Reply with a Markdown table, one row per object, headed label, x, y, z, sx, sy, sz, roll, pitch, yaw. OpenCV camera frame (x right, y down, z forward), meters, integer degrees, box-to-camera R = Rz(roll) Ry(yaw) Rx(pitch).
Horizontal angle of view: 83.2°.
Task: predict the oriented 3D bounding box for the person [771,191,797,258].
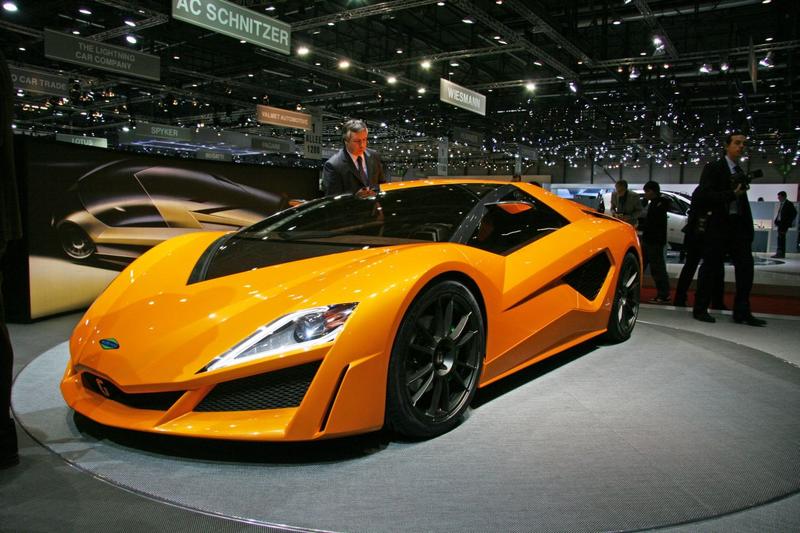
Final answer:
| label | x | y | z | sx | sy | sz | roll | pitch | yaw |
| --- | --- | --- | --- | --- | --- | --- | --- | --- | --- |
| person | 12.493 | -1.432 | 14.744 | 0.495 | 2.047 | 1.464 | 9 | 12 | 38 |

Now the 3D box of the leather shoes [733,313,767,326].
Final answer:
| label | x | y | z | sx | sy | sz | roll | pitch | yaw |
| --- | --- | --- | --- | --- | --- | --- | --- | --- | --- |
| leather shoes | 3.771 | 0.542 | 4.845 | 0.338 | 0.108 | 0.211 | 2 | 9 | 12 |

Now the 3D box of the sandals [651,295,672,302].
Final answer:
| label | x | y | z | sx | sy | sz | roll | pitch | yaw |
| --- | --- | --- | --- | --- | --- | --- | --- | --- | --- |
| sandals | 3.680 | 0.424 | 6.361 | 0.259 | 0.086 | 0.080 | 2 | 9 | -1 |

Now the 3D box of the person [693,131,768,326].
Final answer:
| label | x | y | z | sx | sy | sz | roll | pitch | yaw |
| --- | --- | --- | --- | --- | --- | --- | --- | --- | --- |
| person | 3.582 | -0.428 | 4.871 | 0.661 | 2.011 | 0.684 | -6 | 12 | -32 |

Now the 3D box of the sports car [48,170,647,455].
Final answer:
| label | x | y | z | sx | sy | sz | roll | pitch | yaw |
| --- | --- | --- | --- | --- | --- | --- | --- | --- | --- |
| sports car | 0.154 | 0.202 | 2.874 | 1.640 | 0.829 | 3.167 | 4 | 5 | 42 |
